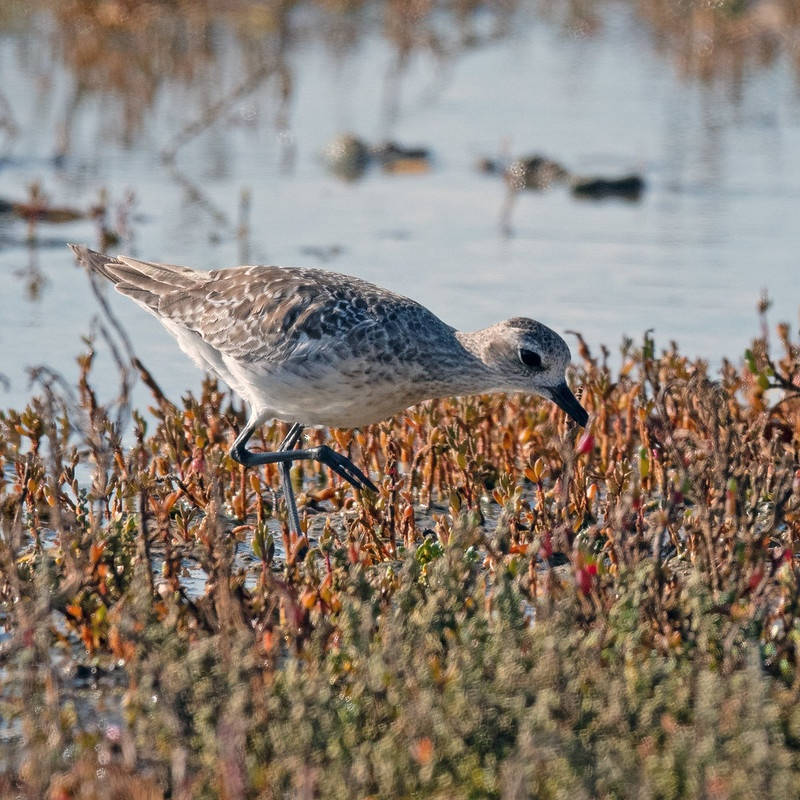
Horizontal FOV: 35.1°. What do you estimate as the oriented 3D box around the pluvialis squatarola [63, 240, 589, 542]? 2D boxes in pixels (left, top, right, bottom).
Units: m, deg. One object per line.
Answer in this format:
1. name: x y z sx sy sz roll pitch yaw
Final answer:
1. pluvialis squatarola: -0.365 -0.036 6.720 2.577 1.335 0.942 7 9 35
